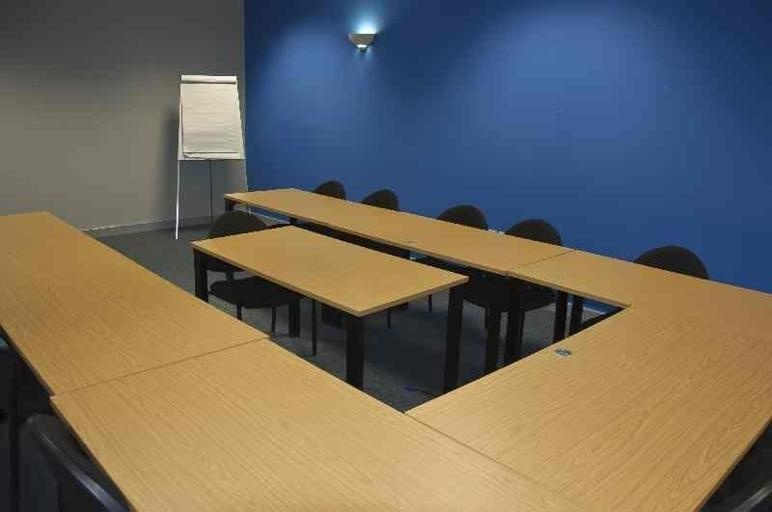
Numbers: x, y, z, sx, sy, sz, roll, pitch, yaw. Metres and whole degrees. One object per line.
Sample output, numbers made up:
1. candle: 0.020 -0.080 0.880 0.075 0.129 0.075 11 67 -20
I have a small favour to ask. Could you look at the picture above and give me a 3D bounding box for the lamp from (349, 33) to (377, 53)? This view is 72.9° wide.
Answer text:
1. lamp: -0.303 -2.512 6.168 0.385 0.212 0.137 14 21 38
